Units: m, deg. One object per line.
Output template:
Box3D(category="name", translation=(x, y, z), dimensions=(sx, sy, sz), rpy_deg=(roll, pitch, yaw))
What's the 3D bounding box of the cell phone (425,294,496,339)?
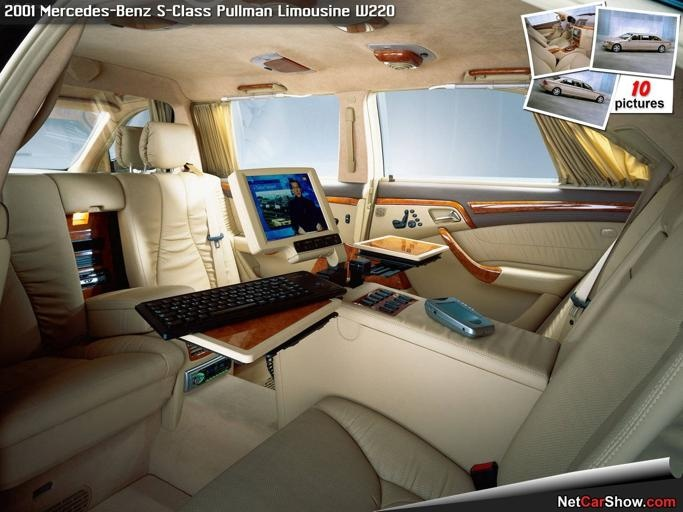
Box3D(category="cell phone", translation=(0.342, 0.170, 1.105), dimensions=(0.104, 0.034, 0.163), rpy_deg=(-9, 21, -29))
